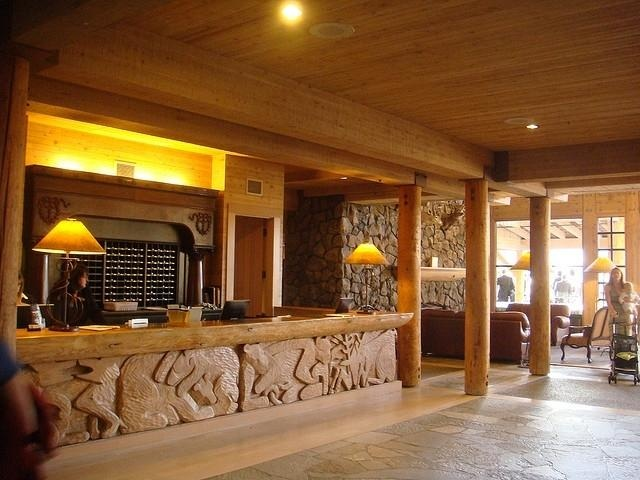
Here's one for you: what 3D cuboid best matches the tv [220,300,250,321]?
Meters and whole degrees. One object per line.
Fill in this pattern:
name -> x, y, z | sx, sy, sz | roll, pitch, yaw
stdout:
tv -> -1.092, 0.889, 5.984 | 0.342, 0.294, 0.277 | 5, 2, -42

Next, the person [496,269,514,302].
person -> 6.495, 1.588, 16.053 | 0.530, 1.092, 0.542 | -1, -5, 20

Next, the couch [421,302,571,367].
couch -> 4.008, 2.124, 10.817 | 2.174, 0.839, 1.955 | -6, -6, 44

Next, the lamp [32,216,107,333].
lamp -> -2.667, 0.314, 4.956 | 0.617, 1.110, 1.744 | 4, -6, -25

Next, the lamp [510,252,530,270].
lamp -> 6.005, 0.599, 13.792 | 0.635, 0.400, 0.625 | 1, -5, 32

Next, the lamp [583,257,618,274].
lamp -> 7.421, 0.653, 12.150 | 0.802, 0.347, 0.765 | -2, -3, 16
